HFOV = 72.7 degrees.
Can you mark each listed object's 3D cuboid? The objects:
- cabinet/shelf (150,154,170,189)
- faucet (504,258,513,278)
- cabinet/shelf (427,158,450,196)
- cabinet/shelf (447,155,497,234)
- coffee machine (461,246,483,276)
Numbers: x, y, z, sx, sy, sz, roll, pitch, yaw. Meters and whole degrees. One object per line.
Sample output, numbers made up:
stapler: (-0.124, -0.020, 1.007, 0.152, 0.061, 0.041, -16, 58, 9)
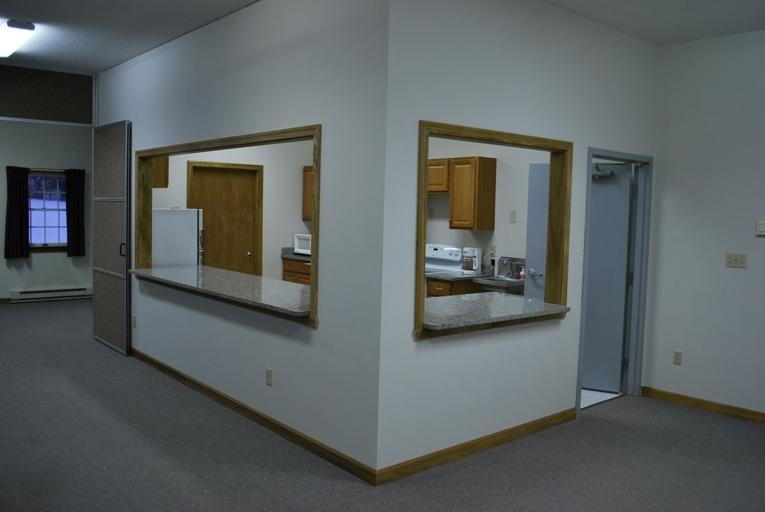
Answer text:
cabinet/shelf: (-2.802, -1.129, 6.624, 0.232, 0.416, 0.223, -1, 10, -30)
faucet: (1.582, 0.142, 6.505, 0.047, 0.227, 0.119, -9, 16, -42)
cabinet/shelf: (0.750, -1.030, 7.071, 0.386, 0.508, 0.361, -4, -21, 17)
cabinet/shelf: (1.151, -0.813, 6.679, 0.607, 0.912, 0.368, 2, 12, 5)
coffee machine: (1.146, 0.048, 6.716, 0.278, 0.446, 0.316, 2, -2, -28)
